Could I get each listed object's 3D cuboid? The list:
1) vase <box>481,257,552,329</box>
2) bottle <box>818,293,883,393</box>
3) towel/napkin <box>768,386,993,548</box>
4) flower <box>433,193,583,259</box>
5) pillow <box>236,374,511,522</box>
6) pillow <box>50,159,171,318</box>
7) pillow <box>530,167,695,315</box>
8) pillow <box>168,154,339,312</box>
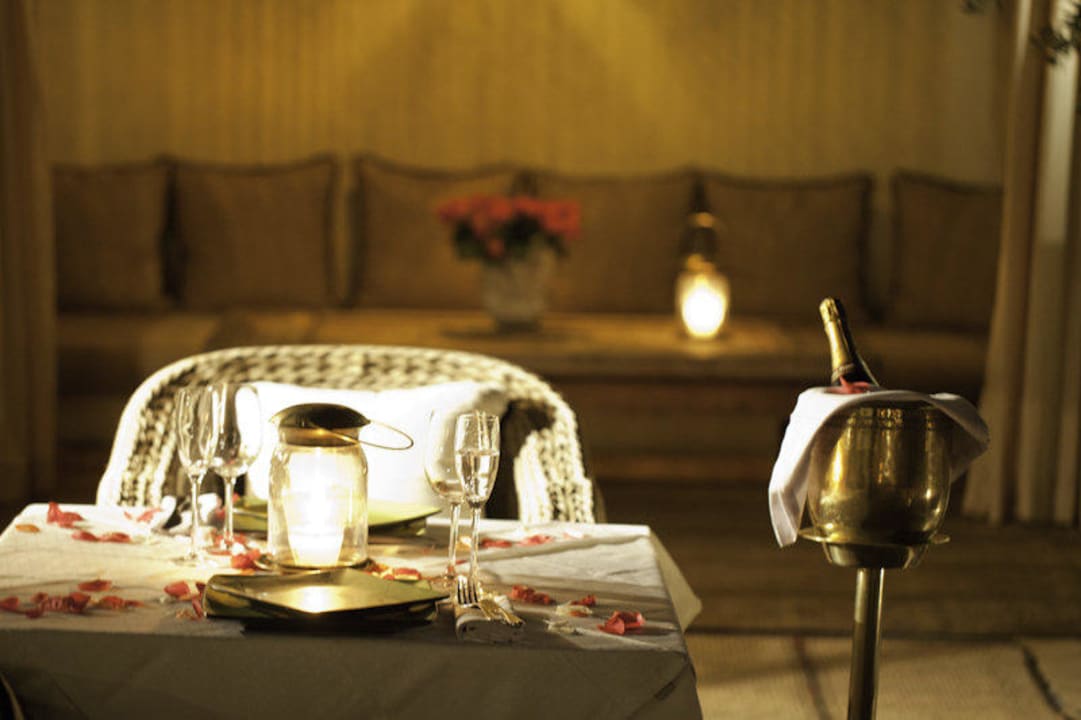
[{"bbox_3d":[-0.075,-0.236,3.723,0.227,0.261,0.231,-7,10,-37],"label":"vase"},{"bbox_3d":[0.565,-0.028,2.111,0.087,0.192,0.236,-2,-8,13],"label":"bottle"},{"bbox_3d":[0.581,0.175,1.965,0.297,0.219,0.298,-1,-1,-6],"label":"towel/napkin"},{"bbox_3d":[-0.111,-0.417,3.670,0.433,0.209,0.107,0,-7,-2],"label":"flower"},{"bbox_3d":[-0.387,0.161,2.662,0.416,0.341,0.121,3,-21,-10],"label":"pillow"},{"bbox_3d":[-1.418,-0.400,3.751,0.399,0.473,0.076,2,14,12],"label":"pillow"},{"bbox_3d":[0.247,-0.393,3.751,0.469,0.479,0.211,0,12,10],"label":"pillow"},{"bbox_3d":[-0.938,-0.411,3.763,0.558,0.521,0.136,-5,16,-26],"label":"pillow"}]
